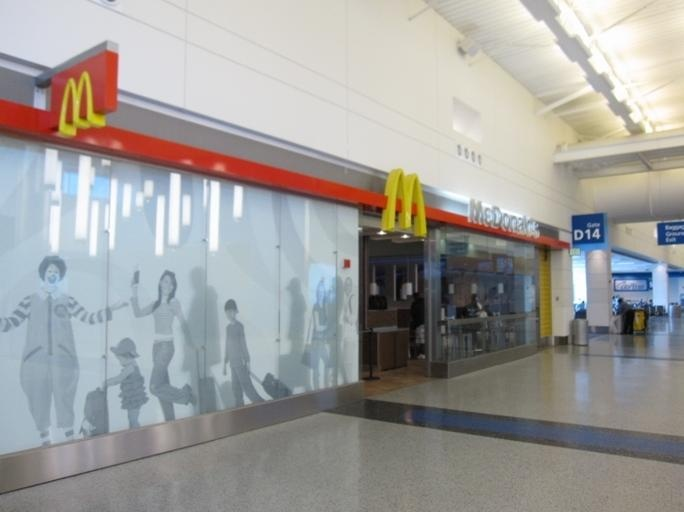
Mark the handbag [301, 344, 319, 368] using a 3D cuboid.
[{"bbox_3d":[-0.499,1.509,7.748,0.104,0.310,0.306,-7,-19,33],"label":"handbag"}]

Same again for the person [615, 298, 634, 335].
[{"bbox_3d":[11.759,2.513,21.281,0.622,1.287,2.081,-2,-3,30],"label":"person"}]

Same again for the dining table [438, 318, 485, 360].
[{"bbox_3d":[2.666,1.810,11.363,0.753,1.104,0.864,1,-1,-7],"label":"dining table"}]

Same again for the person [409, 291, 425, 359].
[{"bbox_3d":[2.080,1.900,14.245,0.368,1.757,1.067,0,-3,6],"label":"person"}]

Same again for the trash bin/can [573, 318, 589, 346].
[{"bbox_3d":[7.842,2.491,16.896,0.411,0.830,0.807,-1,-3,18],"label":"trash bin/can"}]
